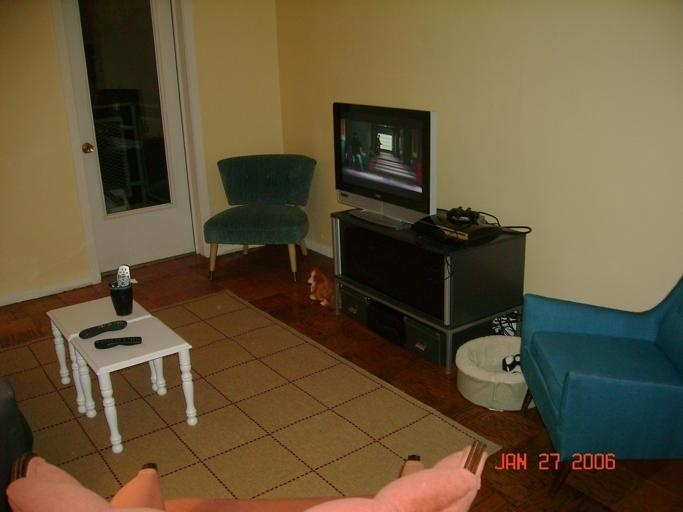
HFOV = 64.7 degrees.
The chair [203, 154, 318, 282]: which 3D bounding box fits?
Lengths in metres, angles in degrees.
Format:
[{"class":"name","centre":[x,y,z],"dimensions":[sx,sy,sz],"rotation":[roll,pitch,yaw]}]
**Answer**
[{"class":"chair","centre":[-0.681,-0.434,5.001],"dimensions":[1.067,1.098,1.052],"rotation":[2,20,5]}]

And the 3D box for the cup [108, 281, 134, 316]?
[{"class":"cup","centre":[-1.257,0.245,3.079],"dimensions":[0.139,0.166,0.133],"rotation":[5,22,-2]}]

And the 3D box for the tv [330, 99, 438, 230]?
[{"class":"tv","centre":[0.293,-0.591,3.570],"dimensions":[0.183,0.641,0.784],"rotation":[-21,30,-34]}]

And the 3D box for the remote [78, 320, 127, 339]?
[{"class":"remote","centre":[-1.290,0.385,2.909],"dimensions":[0.222,0.045,0.089],"rotation":[-10,19,-33]}]

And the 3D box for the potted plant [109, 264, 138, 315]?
[{"class":"potted plant","centre":[-1.255,0.194,3.101],"dimensions":[0.138,0.270,0.148],"rotation":[6,12,39]}]

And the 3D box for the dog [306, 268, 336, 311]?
[{"class":"dog","centre":[-0.124,0.232,4.187],"dimensions":[0.258,0.267,0.188],"rotation":[5,17,14]}]
